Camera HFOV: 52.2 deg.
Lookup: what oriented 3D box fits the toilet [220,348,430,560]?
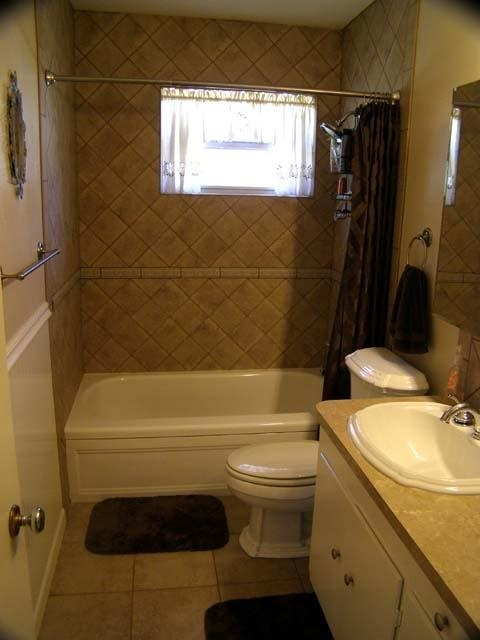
[{"bbox_3d":[0.311,0.522,2.437,0.739,1.236,0.662,1,9,-4],"label":"toilet"}]

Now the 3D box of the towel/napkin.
[{"bbox_3d":[0.688,-0.053,2.063,0.074,0.294,0.234,2,2,7],"label":"towel/napkin"}]
